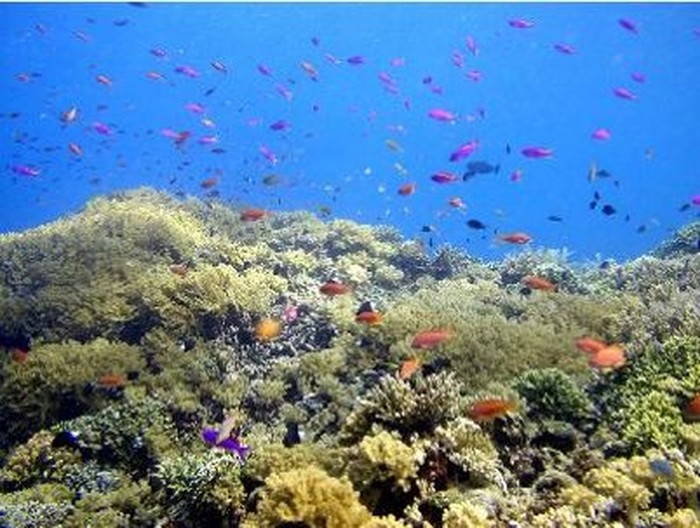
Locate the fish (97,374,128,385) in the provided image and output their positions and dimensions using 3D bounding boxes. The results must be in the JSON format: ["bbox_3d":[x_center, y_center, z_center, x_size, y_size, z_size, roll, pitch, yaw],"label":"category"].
[{"bbox_3d":[-6.668,3.217,16.298,0.587,0.323,0.164,-4,32,-3],"label":"fish"}]

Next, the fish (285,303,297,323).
[{"bbox_3d":[-1.830,1.552,18.309,0.389,0.456,0.310,31,17,38],"label":"fish"}]
